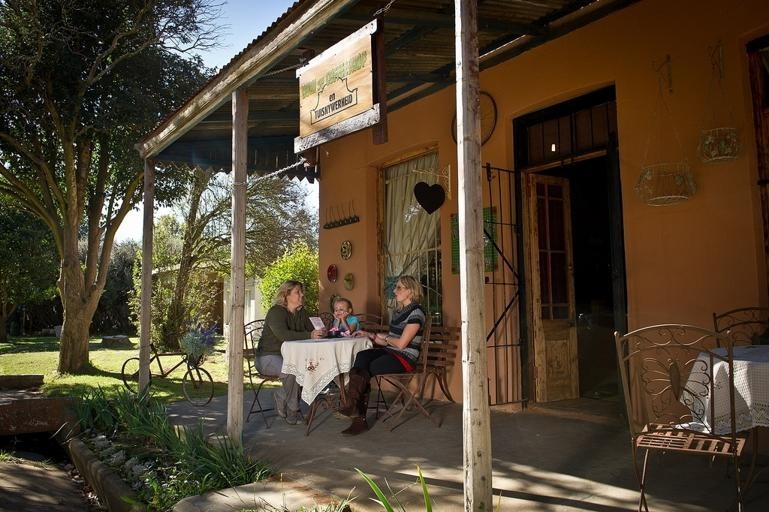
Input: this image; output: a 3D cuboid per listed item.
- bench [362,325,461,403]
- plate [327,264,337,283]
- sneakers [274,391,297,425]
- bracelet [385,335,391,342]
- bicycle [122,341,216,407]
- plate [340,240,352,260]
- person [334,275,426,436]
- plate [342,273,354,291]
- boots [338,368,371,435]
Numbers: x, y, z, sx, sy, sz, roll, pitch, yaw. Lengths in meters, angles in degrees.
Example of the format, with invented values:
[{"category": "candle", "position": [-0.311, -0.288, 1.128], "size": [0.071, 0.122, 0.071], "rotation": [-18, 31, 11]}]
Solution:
[{"category": "bench", "position": [0.665, 1.556, 8.885], "size": [0.683, 1.017, 0.991], "rotation": [5, -6, -15]}, {"category": "plate", "position": [-1.001, 0.337, 11.414], "size": [0.077, 0.342, 0.309], "rotation": [12, -16, -43]}, {"category": "sneakers", "position": [-1.382, 2.105, 8.312], "size": [0.221, 0.601, 0.203], "rotation": [-12, 8, -1]}, {"category": "bracelet", "position": [0.037, 1.121, 8.136], "size": [0.053, 0.029, 0.080], "rotation": [5, -48, 12]}, {"category": "bicycle", "position": [-3.950, 2.207, 11.077], "size": [1.998, 1.342, 1.035], "rotation": [-5, -8, 34]}, {"category": "plate", "position": [-0.717, -0.101, 11.132], "size": [0.038, 0.329, 0.296], "rotation": [1, 8, -30]}, {"category": "person", "position": [-0.087, 1.280, 8.029], "size": [1.204, 2.125, 0.838], "rotation": [9, -13, -24]}, {"category": "plate", "position": [-0.673, 0.481, 11.059], "size": [0.043, 0.342, 0.277], "rotation": [1, 4, -34]}, {"category": "boots", "position": [-0.391, 1.867, 7.707], "size": [0.363, 0.817, 0.347], "rotation": [2, -11, -3]}]
